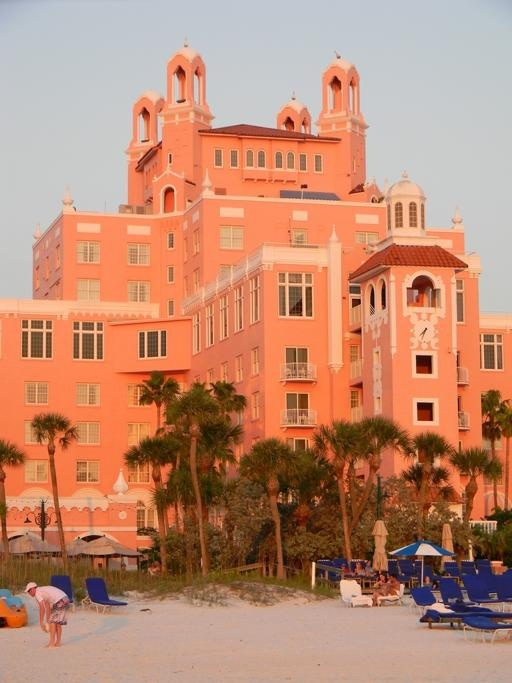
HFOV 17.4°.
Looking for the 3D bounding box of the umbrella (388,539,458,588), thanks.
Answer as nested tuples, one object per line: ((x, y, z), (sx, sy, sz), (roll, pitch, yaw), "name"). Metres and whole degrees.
((5.024, 6.844, 50.780), (1.724, 1.690, 2.027), (2, 3, -4), "umbrella")
